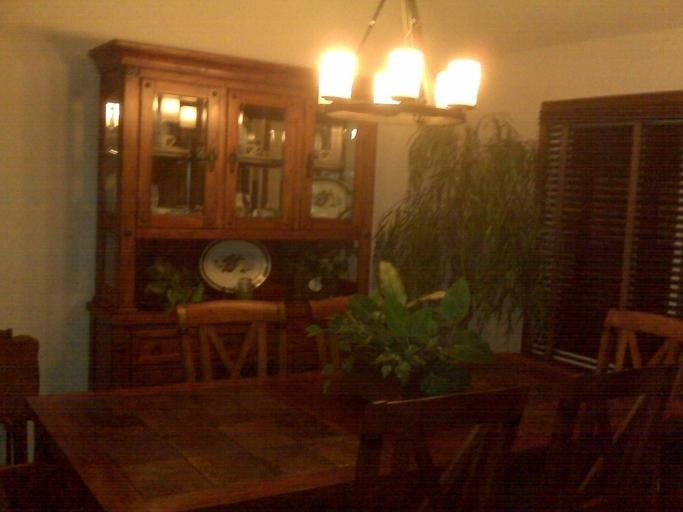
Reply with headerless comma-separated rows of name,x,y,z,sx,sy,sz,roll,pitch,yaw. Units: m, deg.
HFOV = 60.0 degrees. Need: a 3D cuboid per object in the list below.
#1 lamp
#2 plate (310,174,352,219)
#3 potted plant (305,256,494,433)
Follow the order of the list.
lamp,0.158,-0.442,1.826,0.466,0.430,0.427,2,-3,-21
plate,-0.030,-0.296,2.857,0.212,0.186,0.042,-5,5,-32
potted plant,0.102,0.174,1.307,0.388,0.162,0.409,27,-7,-25
